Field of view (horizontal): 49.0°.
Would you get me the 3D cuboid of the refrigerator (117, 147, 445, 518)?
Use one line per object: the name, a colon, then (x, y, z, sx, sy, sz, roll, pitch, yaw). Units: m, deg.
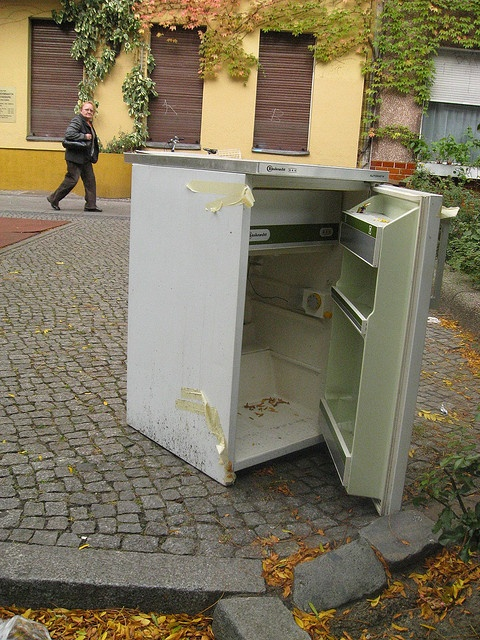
refrigerator: (0.279, -0.009, 2.956, 1.133, 1.705, 1.780, -8, 18, -41)

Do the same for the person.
person: (-3.615, -3.608, 11.648, 1.009, 2.431, 1.131, 0, 14, -19)

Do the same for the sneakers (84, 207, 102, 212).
sneakers: (-3.441, -2.564, 12.345, 0.430, 0.182, 0.142, -1, 18, -9)
